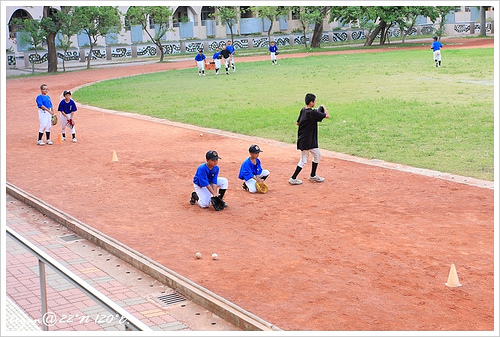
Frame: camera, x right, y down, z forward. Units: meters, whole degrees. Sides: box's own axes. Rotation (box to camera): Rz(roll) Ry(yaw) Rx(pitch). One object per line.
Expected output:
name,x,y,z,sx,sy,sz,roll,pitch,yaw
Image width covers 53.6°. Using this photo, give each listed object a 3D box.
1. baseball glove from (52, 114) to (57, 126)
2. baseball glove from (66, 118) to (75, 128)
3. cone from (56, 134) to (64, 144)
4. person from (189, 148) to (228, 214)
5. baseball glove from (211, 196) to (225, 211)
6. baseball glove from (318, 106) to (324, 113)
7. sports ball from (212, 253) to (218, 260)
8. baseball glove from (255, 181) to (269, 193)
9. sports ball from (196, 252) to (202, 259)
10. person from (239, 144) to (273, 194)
baseball glove,-7.446,-1.871,18.789,0.148,0.386,0.400,-9,17,-29
baseball glove,-6.922,-1.754,19.025,0.256,0.445,0.635,-6,15,-21
cone,-7.289,-1.134,18.952,0.292,0.357,0.287,1,0,26
person,-1.054,0.269,12.117,0.942,1.499,0.702,-1,15,-1
baseball glove,-0.800,0.834,12.128,0.255,0.338,0.125,-33,10,-23
baseball glove,1.914,-1.613,13.438,0.171,0.195,0.071,-2,19,-1
sports ball,-0.693,1.713,9.726,0.109,0.097,0.117,0,-23,0
baseball glove,0.294,0.484,13.147,0.136,0.295,0.235,-16,35,44
sports ball,-1.015,1.693,9.735,0.094,0.096,0.087,5,23,-2
person,0.082,-0.017,13.185,0.591,1.333,0.661,8,17,29
